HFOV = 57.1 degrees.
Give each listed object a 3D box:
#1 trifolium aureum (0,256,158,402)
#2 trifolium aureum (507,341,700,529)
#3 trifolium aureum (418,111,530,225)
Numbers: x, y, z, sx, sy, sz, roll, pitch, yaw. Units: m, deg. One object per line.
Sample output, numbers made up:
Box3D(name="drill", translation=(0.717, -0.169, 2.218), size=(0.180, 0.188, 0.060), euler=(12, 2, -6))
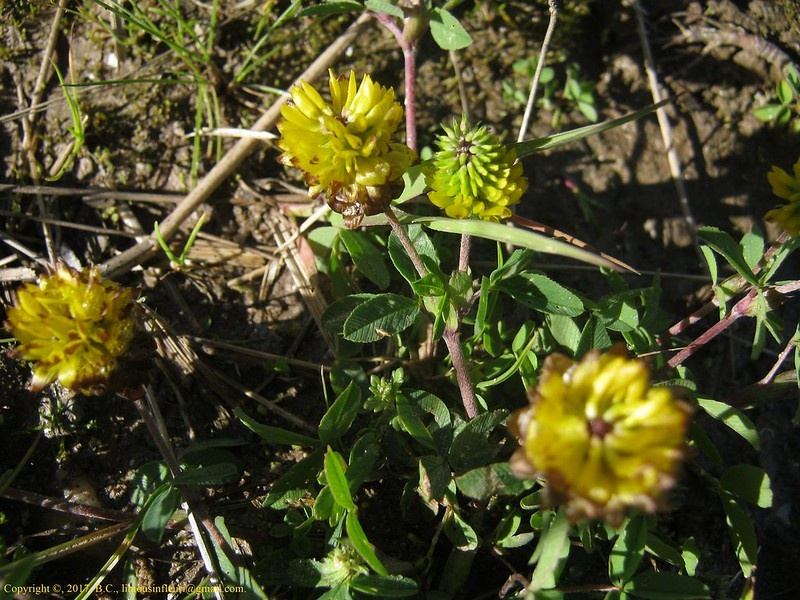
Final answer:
Box3D(name="trifolium aureum", translation=(-1.206, 0.138, 2.800), size=(0.473, 0.537, 0.258), euler=(-13, 22, -16))
Box3D(name="trifolium aureum", translation=(0.666, 0.445, 2.360), size=(0.634, 0.254, 0.586), euler=(-12, 31, 40))
Box3D(name="trifolium aureum", translation=(0.227, -0.489, 2.854), size=(0.357, 0.421, 0.378), euler=(-2, -16, -18))
